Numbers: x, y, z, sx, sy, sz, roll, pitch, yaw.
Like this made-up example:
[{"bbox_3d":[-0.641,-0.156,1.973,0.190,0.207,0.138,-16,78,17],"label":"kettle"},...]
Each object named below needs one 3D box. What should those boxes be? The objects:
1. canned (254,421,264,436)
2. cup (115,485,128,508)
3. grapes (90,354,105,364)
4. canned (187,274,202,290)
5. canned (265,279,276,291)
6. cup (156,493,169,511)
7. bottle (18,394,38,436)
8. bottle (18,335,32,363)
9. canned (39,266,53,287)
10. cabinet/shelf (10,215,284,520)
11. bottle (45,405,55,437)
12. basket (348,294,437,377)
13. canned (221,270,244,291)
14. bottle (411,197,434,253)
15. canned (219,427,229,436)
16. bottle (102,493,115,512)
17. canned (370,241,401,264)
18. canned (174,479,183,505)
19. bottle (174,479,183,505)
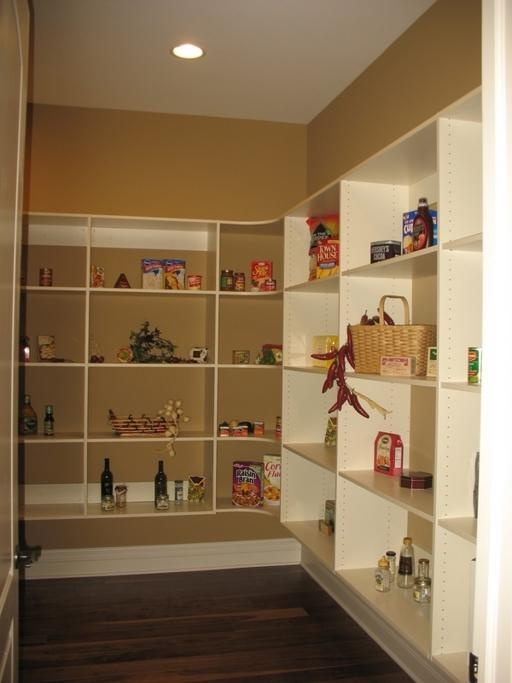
[{"bbox_3d":[0.017,0.518,3.411,0.052,0.079,0.075,0,3,-12],"label":"canned"},{"bbox_3d":[-0.791,0.902,3.338,0.061,0.128,0.102,1,-3,-18],"label":"cup"},{"bbox_3d":[-0.913,0.101,3.265,0.048,0.048,0.063,2,-7,-11],"label":"grapes"},{"bbox_3d":[-0.377,-0.359,3.432,0.084,0.100,0.090,1,4,10],"label":"canned"},{"bbox_3d":[0.081,-0.330,3.321,0.066,0.084,0.065,-1,5,-40],"label":"canned"},{"bbox_3d":[-0.538,0.920,3.284,0.068,0.127,0.069,0,-3,0],"label":"cup"},{"bbox_3d":[-1.282,0.416,3.230,0.090,0.230,0.287,1,-3,-22],"label":"bottle"},{"bbox_3d":[-1.315,0.040,3.261,0.031,0.159,0.265,1,-3,-15],"label":"bottle"},{"bbox_3d":[-1.219,-0.371,3.313,0.073,0.134,0.247,1,-3,-19],"label":"canned"},{"bbox_3d":[-0.684,0.170,3.331,1.684,1.831,0.512,1,-4,-18],"label":"cabinet/shelf"},{"bbox_3d":[-1.197,0.451,3.309,0.062,0.169,0.195,1,-3,-20],"label":"bottle"},{"bbox_3d":[0.468,0.027,2.034,0.122,0.187,0.416,2,-3,-30],"label":"basket"},{"bbox_3d":[-0.138,-0.358,3.353,0.160,0.126,0.105,0,0,-24],"label":"canned"},{"bbox_3d":[0.522,-0.367,1.776,0.051,0.181,0.145,0,-3,8],"label":"bottle"},{"bbox_3d":[-0.186,0.524,3.351,0.062,0.069,0.046,1,-3,-16],"label":"canned"},{"bbox_3d":[-0.842,0.914,3.242,0.067,0.083,0.080,1,-3,-19],"label":"bottle"},{"bbox_3d":[0.452,-0.319,2.002,0.082,0.067,0.087,1,3,21],"label":"canned"},{"bbox_3d":[-0.469,0.906,3.458,0.058,0.124,0.090,1,-3,-7],"label":"canned"},{"bbox_3d":[-0.469,0.906,3.458,0.058,0.124,0.090,1,-3,-7],"label":"bottle"}]
